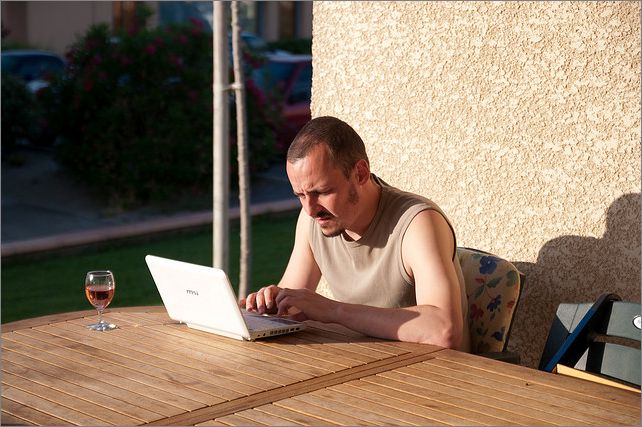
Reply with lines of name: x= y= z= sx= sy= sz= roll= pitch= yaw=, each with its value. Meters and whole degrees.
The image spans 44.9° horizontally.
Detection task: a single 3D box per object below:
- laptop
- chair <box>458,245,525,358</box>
laptop: x=-0.442 y=0.257 z=3.275 sx=0.416 sy=0.299 sz=0.480 roll=-6 pitch=8 yaw=-44
chair: x=0.893 y=0.408 z=3.576 sx=0.362 sy=0.498 sz=0.404 roll=0 pitch=-5 yaw=35
